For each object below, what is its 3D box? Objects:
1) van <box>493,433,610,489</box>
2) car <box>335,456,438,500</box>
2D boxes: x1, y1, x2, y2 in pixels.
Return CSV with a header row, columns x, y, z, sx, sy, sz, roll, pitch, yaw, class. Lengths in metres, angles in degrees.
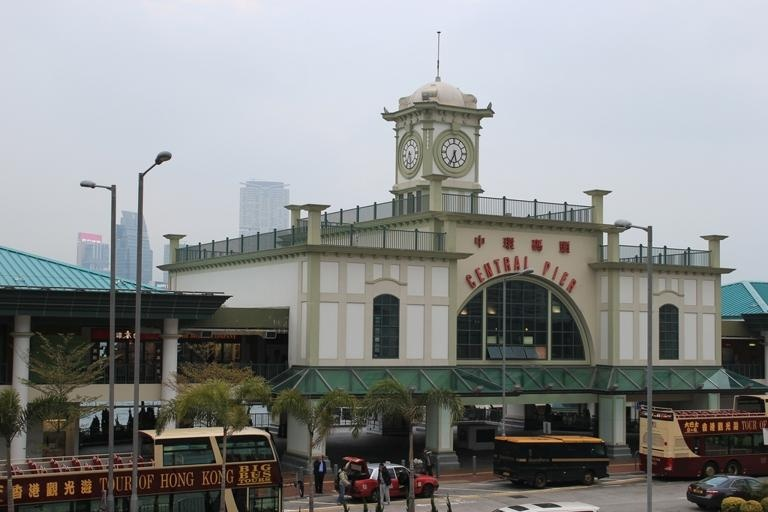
x,y,z,sx,sy,sz,roll,pitch,yaw,class
10.893,13.397,95.587,6.282,2.837,3.376,-1,-1,-17,van
0.449,14.186,92.354,6.243,2.516,3.097,1,-1,-27,car
